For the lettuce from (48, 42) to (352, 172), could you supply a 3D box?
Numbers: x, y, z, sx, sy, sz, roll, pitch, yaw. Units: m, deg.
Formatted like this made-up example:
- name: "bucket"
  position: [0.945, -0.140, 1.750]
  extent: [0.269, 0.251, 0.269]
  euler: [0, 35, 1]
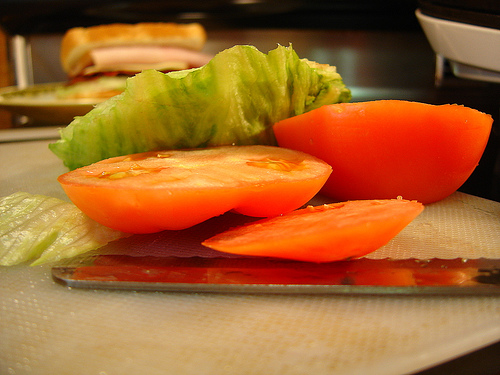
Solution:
- name: "lettuce"
  position: [-0.039, -0.074, 0.524]
  extent: [0.274, 0.059, 0.223]
  euler: [-7, 0, -29]

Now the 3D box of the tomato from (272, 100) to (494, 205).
- name: "tomato"
  position: [0.161, -0.042, 0.533]
  extent: [0.234, 0.059, 0.141]
  euler: [0, -2, 12]

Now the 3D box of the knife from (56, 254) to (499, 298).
- name: "knife"
  position: [0.024, 0.071, 0.362]
  extent: [0.387, 0.005, 0.042]
  euler: [0, 11, 3]
